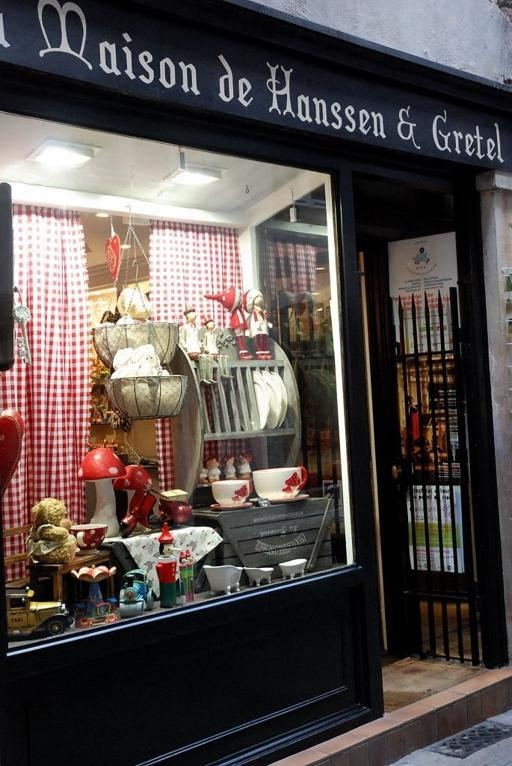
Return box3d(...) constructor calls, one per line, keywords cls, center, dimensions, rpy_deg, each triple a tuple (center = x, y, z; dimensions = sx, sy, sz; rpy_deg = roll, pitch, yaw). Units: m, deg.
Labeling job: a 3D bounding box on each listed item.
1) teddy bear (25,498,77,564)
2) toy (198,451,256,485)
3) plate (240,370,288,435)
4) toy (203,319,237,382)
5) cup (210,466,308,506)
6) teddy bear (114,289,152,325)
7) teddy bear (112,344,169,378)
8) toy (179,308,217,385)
box3d(cls="teddy bear", center=(-0.628, 0.452, 2.116), dimensions=(0.166, 0.216, 0.164), rpy_deg=(-4, -4, 34))
box3d(cls="toy", center=(-0.111, 0.328, 2.566), dimensions=(0.217, 0.098, 0.040), rpy_deg=(-2, -3, -35))
box3d(cls="plate", center=(0.043, 0.069, 2.701), dimensions=(0.160, 0.241, 0.062), rpy_deg=(-3, -2, -4))
box3d(cls="toy", center=(-0.149, -0.119, 2.680), dimensions=(0.118, 0.222, 0.216), rpy_deg=(-7, -8, 33))
box3d(cls="cup", center=(0.009, 0.401, 2.601), dimensions=(0.265, 0.110, 0.152), rpy_deg=(-20, -19, 33))
box3d(cls="teddy bear", center=(-0.450, -0.283, 2.526), dimensions=(0.106, 0.140, 0.077), rpy_deg=(-8, -5, -25))
box3d(cls="teddy bear", center=(-0.414, -0.069, 2.358), dimensions=(0.150, 0.115, 0.046), rpy_deg=(-15, -20, -26))
box3d(cls="toy", center=(-0.224, -0.141, 2.651), dimensions=(0.145, 0.303, 0.092), rpy_deg=(-3, -2, -4))
